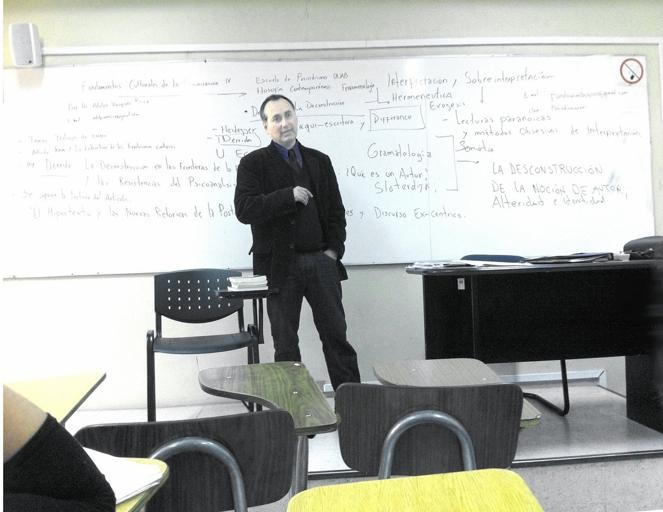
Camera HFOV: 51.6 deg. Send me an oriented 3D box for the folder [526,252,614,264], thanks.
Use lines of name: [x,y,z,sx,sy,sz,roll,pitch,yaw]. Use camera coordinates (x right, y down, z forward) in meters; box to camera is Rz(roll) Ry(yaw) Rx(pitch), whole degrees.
folder: [1.242,0.006,3.593,0.433,0.040,0.242,1,9,20]

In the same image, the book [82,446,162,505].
book: [-0.662,0.699,2.209,0.182,0.048,0.188,0,12,-32]

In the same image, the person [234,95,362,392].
person: [-0.228,-0.093,4.032,0.659,1.700,0.474,-4,8,-9]

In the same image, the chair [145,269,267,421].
chair: [-0.767,0.577,4.053,0.654,0.959,0.626,-2,5,-17]

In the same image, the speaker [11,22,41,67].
speaker: [-1.949,-1.337,4.357,0.190,0.265,0.092,-6,9,-25]

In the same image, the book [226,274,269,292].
book: [-0.474,0.148,3.857,0.219,0.071,0.217,-3,8,-8]
